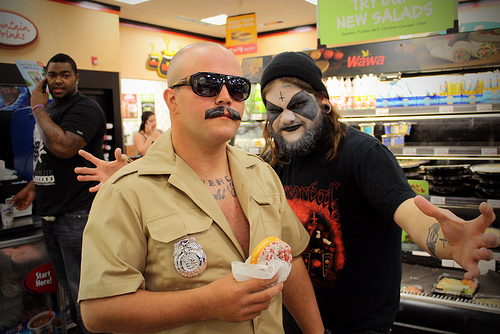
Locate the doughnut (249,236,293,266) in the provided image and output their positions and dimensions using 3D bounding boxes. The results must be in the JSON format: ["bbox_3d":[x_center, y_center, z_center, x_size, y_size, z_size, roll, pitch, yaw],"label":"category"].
[{"bbox_3d":[0.139,0.455,1.814,0.178,0.053,0.181,37,28,21],"label":"doughnut"}]

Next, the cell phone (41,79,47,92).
[{"bbox_3d":[-2.327,-0.901,3.727,0.067,0.102,0.030,9,-4,29],"label":"cell phone"}]

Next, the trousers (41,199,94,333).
[{"bbox_3d":[-1.896,1.102,3.597,0.580,1.430,0.398,6,13,44],"label":"trousers"}]
